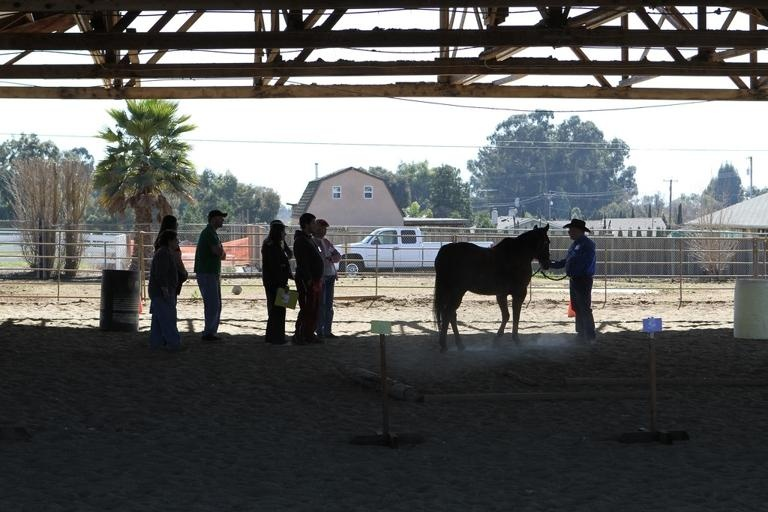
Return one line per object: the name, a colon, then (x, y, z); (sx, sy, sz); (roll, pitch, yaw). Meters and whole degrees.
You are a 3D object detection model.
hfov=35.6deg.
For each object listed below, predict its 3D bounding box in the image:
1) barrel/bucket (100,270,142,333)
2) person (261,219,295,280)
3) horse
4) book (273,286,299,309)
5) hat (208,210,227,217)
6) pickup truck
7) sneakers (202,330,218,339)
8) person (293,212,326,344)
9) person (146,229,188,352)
barrel/bucket: (-5.715, 0.946, 25.653); (0.797, 1.324, 0.589); (0, -1, -14)
person: (-2.193, -0.067, 24.267); (0.617, 1.331, 0.627); (1, -1, -26)
horse: (2.455, 0.858, 27.119); (2.669, 2.537, 0.821); (0, -3, -18)
book: (-2.015, 0.814, 23.940); (0.389, 0.361, 0.072); (14, -16, 15)
hat: (-3.403, -0.876, 24.158); (0.376, 0.142, 0.244); (-2, 0, -4)
pickup truck: (-0.816, -0.223, 43.028); (5.858, 1.925, 2.111); (0, 0, -11)
sneakers: (-3.611, 1.620, 24.856); (0.392, 0.171, 0.159); (0, 7, -7)
person: (-1.574, 0.457, 24.368); (0.610, 2.659, 0.926); (0, -1, -3)
person: (-4.421, 0.655, 24.016); (0.686, 2.357, 0.619); (0, -1, -11)
